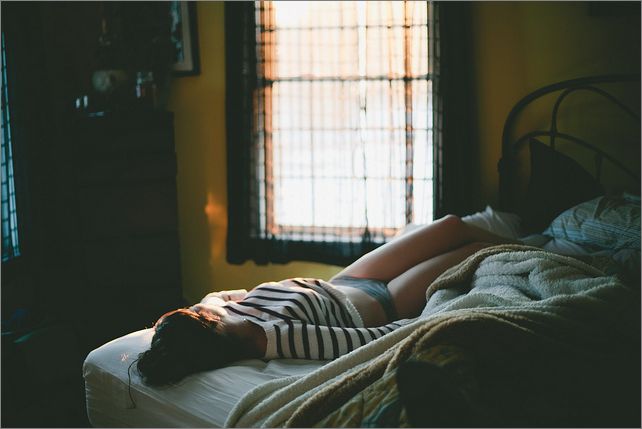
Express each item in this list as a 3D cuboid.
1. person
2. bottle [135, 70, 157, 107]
[{"bbox_3d":[-0.003,0.434,3.056,1.573,0.508,0.865,-17,11,-32],"label":"person"},{"bbox_3d":[-1.082,-0.789,3.839,0.143,0.217,0.059,-7,11,-43],"label":"bottle"}]
